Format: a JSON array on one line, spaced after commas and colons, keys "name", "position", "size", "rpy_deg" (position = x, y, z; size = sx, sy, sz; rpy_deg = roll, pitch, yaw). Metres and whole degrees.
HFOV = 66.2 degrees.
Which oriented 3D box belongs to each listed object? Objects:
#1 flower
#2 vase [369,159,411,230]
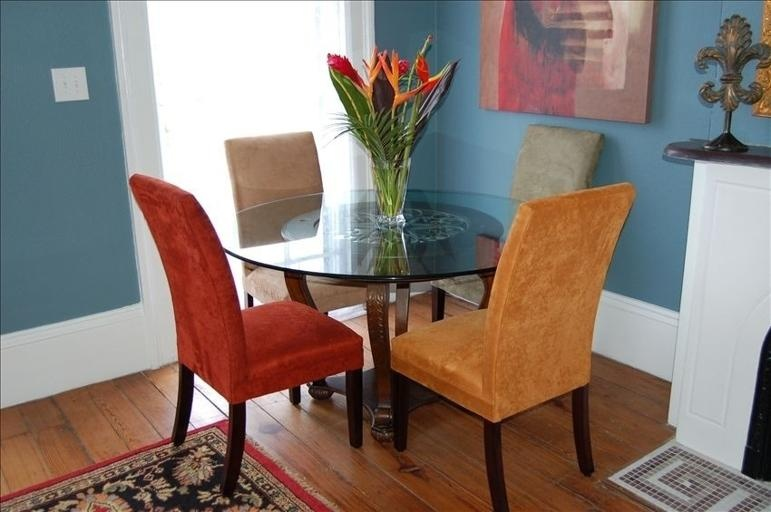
[{"name": "flower", "position": [0.074, -0.556, 2.833], "size": [0.602, 0.804, 0.573], "rpy_deg": [-9, 20, -30]}, {"name": "vase", "position": [0.021, -0.282, 2.844], "size": [0.270, 0.401, 0.277], "rpy_deg": [-1, 13, -2]}]
